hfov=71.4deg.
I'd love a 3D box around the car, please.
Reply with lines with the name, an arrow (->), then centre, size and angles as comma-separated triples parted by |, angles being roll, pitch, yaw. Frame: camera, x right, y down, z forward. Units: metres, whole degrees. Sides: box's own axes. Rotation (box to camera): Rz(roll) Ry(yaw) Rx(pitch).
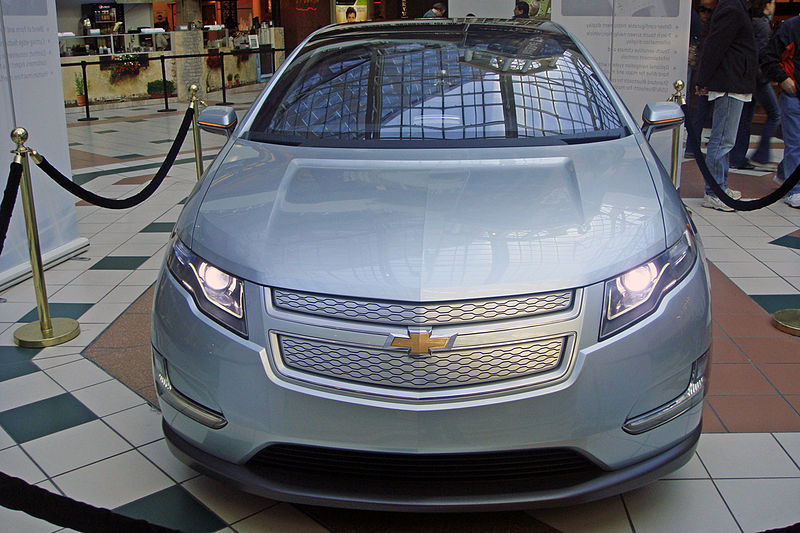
car -> 0.173, -0.248, 2.986 | 1.569, 1.182, 2.755 | 0, 10, 5
